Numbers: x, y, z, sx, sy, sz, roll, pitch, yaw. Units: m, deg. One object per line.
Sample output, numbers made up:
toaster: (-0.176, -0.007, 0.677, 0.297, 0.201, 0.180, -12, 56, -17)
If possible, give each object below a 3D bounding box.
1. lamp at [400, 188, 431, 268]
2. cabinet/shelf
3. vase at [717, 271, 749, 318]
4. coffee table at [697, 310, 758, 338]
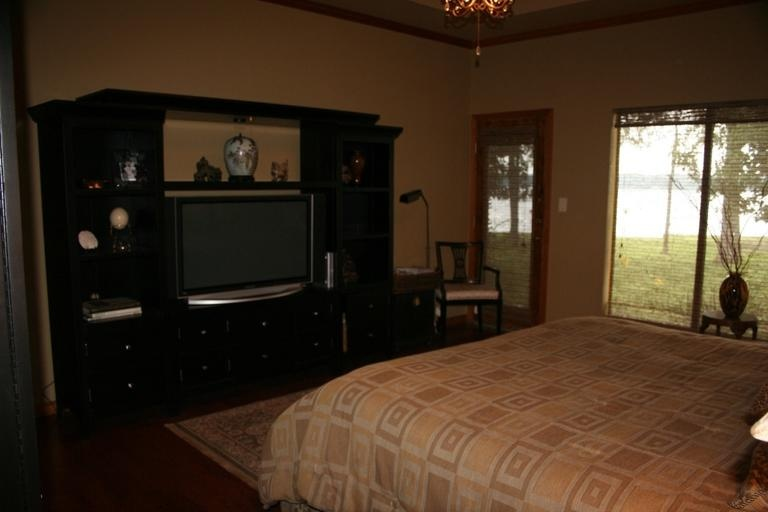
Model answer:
lamp: (0.327, -0.294, 6.207, 0.298, 0.866, 0.601, -1, 7, 11)
cabinet/shelf: (-1.408, 0.105, 4.371, 2.708, 2.213, 0.614, -5, 8, -38)
vase: (3.006, 0.340, 4.882, 0.197, 0.386, 0.178, 0, 8, 16)
coffee table: (2.992, 0.580, 4.916, 0.329, 0.174, 0.337, 0, 5, 19)
